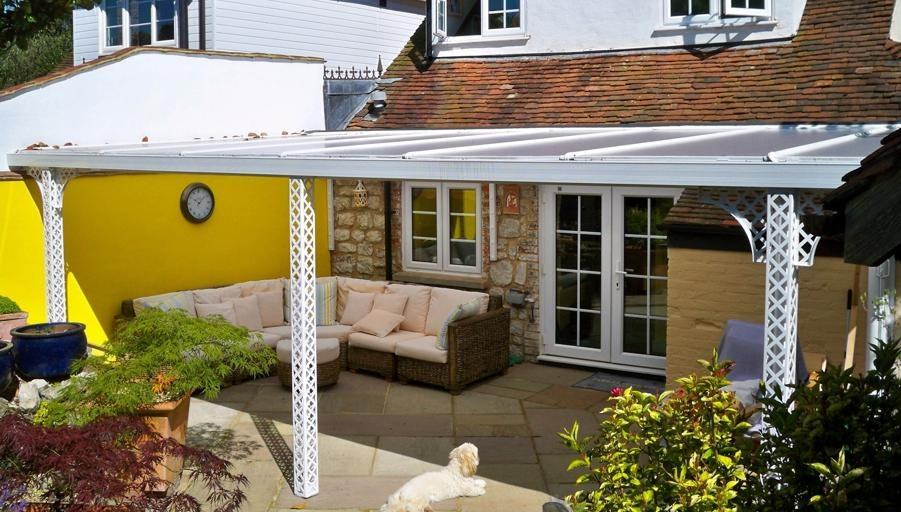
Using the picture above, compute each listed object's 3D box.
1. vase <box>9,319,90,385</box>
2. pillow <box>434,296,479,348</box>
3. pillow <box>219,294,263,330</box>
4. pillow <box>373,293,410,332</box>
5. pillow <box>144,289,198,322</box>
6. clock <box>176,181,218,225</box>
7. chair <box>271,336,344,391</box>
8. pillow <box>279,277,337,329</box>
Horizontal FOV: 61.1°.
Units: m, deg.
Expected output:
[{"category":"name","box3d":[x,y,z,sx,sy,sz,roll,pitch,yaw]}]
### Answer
[{"category":"vase","box3d":[-5.377,1.255,10.550,1.009,0.668,0.955,0,9,-2]},{"category":"pillow","box3d":[0.119,1.077,12.192,0.804,0.705,0.278,-8,15,-42]},{"category":"pillow","box3d":[-3.414,0.906,12.325,0.603,0.558,0.214,-5,-15,-47]},{"category":"pillow","box3d":[-0.990,0.965,12.826,0.647,0.564,0.238,3,-27,26]},{"category":"pillow","box3d":[-4.333,0.739,12.121,0.787,0.214,0.686,8,9,42]},{"category":"clock","box3d":[-4.371,-0.911,13.027,0.170,0.777,0.783,0,4,40]},{"category":"chair","box3d":[-2.252,1.725,11.997,0.974,0.811,0.760,0,11,-11]},{"category":"pillow","box3d":[-2.463,0.788,13.370,1.133,0.957,0.727,0,2,-2]}]
